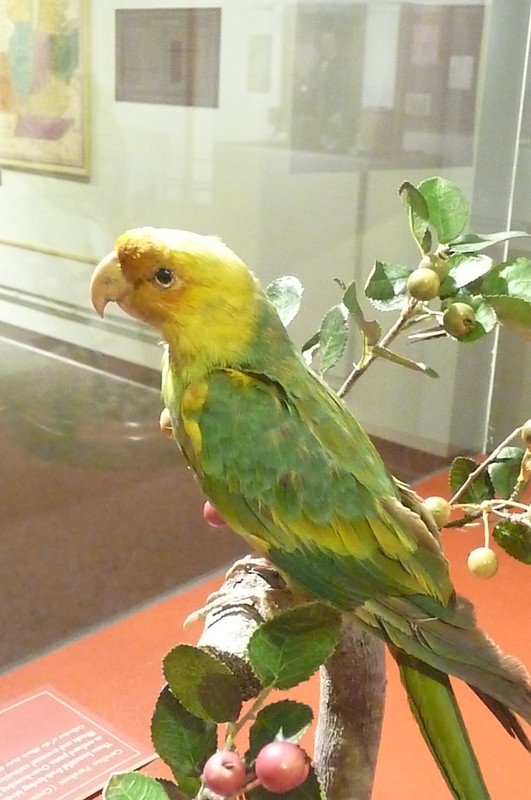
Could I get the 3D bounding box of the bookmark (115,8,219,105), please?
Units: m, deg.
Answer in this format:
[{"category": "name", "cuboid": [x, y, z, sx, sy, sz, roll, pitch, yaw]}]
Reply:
[{"category": "bookmark", "cuboid": [-0.157, -0.531, 1.175, 0.190, 0.135, 0.004, -8, 22, -31]}]
